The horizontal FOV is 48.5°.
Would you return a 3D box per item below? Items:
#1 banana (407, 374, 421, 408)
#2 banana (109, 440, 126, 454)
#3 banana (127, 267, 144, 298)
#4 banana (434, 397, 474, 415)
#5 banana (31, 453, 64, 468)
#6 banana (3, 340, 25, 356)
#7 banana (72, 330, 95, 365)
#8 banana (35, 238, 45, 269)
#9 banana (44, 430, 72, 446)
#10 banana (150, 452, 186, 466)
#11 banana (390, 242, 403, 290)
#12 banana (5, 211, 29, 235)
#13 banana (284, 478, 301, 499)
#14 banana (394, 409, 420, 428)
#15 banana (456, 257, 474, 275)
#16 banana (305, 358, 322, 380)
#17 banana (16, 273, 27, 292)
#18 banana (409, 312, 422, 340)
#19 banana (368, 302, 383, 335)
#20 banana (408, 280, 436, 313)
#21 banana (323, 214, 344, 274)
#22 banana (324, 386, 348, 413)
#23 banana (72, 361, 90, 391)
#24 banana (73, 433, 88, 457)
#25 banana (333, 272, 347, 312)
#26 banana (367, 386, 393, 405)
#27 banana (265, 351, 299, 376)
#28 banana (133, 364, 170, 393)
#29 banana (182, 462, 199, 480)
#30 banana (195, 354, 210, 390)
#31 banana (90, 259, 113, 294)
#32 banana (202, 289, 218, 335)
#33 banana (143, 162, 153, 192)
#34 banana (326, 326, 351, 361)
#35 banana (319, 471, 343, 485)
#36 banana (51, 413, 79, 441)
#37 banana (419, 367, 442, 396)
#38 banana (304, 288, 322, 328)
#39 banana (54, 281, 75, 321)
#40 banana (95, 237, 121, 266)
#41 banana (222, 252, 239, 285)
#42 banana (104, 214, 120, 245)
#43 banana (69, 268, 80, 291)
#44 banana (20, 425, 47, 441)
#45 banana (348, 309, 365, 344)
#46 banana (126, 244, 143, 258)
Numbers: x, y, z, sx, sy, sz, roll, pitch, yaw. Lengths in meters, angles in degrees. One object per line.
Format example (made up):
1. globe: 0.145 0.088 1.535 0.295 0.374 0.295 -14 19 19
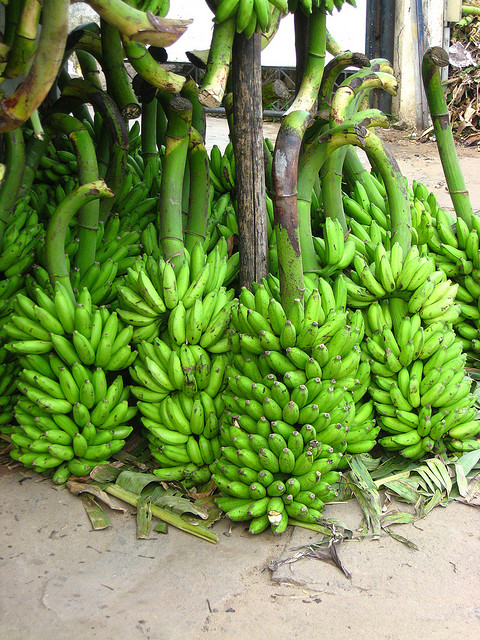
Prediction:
1. banana: 0.654 0.271 2.014 0.045 0.122 0.058 9 10 43
2. banana: -0.466 0.471 2.000 0.060 0.044 0.052 -2 9 -33
3. banana: -0.405 -0.162 2.059 0.043 0.140 0.038 -11 -13 -39
4. banana: 0.798 0.323 2.017 0.118 0.043 0.026 -17 52 -21
5. banana: -0.704 0.516 1.942 0.122 0.046 0.039 7 10 -41
6. banana: -0.860 0.102 2.038 0.060 0.048 0.182 9 -3 -6
7. banana: -0.571 0.106 1.985 0.046 0.159 0.052 10 44 22
8. banana: -0.879 -0.294 2.342 0.031 0.151 0.048 -11 -7 41
9. banana: -0.649 0.417 1.901 0.030 0.047 0.090 -7 -20 30
10. banana: -0.264 0.519 1.990 0.130 0.028 0.047 23 40 -13
11. banana: 0.605 -0.216 2.077 0.041 0.169 0.055 -1 -8 -24
12. banana: -0.996 -0.440 2.397 0.032 0.052 0.144 27 36 -2
13. banana: 0.169 0.532 1.684 0.039 0.039 0.062 2 -30 0
14. banana: 0.624 0.366 1.985 0.138 0.043 0.050 23 -37 -28
15. banana: 1.098 -0.268 2.600 0.035 0.030 0.072 44 -4 28
16. banana: 0.235 0.162 1.736 0.053 0.079 0.063 4 8 10
17. banana: -0.952 -0.164 2.326 0.021 0.091 0.035 24 17 -13
18. banana: 0.684 0.016 2.098 0.036 0.147 0.047 0 -32 11
19. banana: 0.534 -0.007 2.118 0.035 0.141 0.048 -21 -34 20
20. banana: 0.706 -0.093 2.084 0.030 0.124 0.043 31 40 16
21. banana: 0.369 -0.300 2.119 0.088 0.234 0.070 -2 0 -17
22. banana: 0.316 0.277 1.832 0.038 0.140 0.050 31 58 6
23. banana: -0.571 0.203 1.918 0.032 0.124 0.039 -11 49 -9
24. banana: -0.577 0.445 1.920 0.031 0.089 0.032 38 56 20
25. banana: 0.363 -0.102 1.993 0.037 0.146 0.048 -3 -12 -11
26. banana: 0.542 0.290 2.054 0.097 0.028 0.034 33 -6 -5
27. banana: 0.146 0.155 1.806 0.047 0.048 0.146 33 -2 42
28. banana: -0.327 0.220 1.993 0.031 0.106 0.038 -41 0 12
29. banana: -0.190 0.555 1.972 0.025 0.061 0.088 0 16 10
30. banana: -0.141 0.196 1.989 0.039 0.143 0.076 4 7 14
31. banana: -0.565 -0.191 2.216 0.045 0.182 0.060 32 29 3
32. banana: -0.119 -0.037 2.052 0.040 0.163 0.055 -4 -31 25
33. banana: -0.492 -0.769 2.843 0.041 0.168 0.053 -3 -15 -8
34. banana: 0.326 0.079 1.846 0.046 0.151 0.053 28 56 7
35. banana: 0.303 0.519 1.784 0.028 0.041 0.106 1 1 36
36. banana: -0.631 0.386 1.913 0.041 0.107 0.026 -49 11 -35
37. banana: 0.710 0.226 2.002 0.042 0.147 0.048 25 38 2
38. banana: 0.244 -0.038 1.819 0.039 0.152 0.044 0 9 -19
39. banana: -0.655 -0.068 1.974 0.030 0.141 0.045 -20 10 42
40. banana: -0.591 -0.305 2.363 0.181 0.046 0.059 -53 4 -31
41. banana: -0.035 -0.237 2.378 0.048 0.170 0.063 25 -11 -25
42. banana: -0.588 -0.418 2.440 0.043 0.171 0.060 24 46 9
43. banana: -0.675 -0.164 2.174 0.023 0.103 0.033 1 3 -13
44. banana: -0.749 0.409 1.933 0.081 0.028 0.028 24 -22 3
45. banana: 0.439 0.042 2.049 0.052 0.169 0.067 9 52 17
46. banana: -0.491 -0.323 2.476 0.032 0.047 0.116 26 32 11
